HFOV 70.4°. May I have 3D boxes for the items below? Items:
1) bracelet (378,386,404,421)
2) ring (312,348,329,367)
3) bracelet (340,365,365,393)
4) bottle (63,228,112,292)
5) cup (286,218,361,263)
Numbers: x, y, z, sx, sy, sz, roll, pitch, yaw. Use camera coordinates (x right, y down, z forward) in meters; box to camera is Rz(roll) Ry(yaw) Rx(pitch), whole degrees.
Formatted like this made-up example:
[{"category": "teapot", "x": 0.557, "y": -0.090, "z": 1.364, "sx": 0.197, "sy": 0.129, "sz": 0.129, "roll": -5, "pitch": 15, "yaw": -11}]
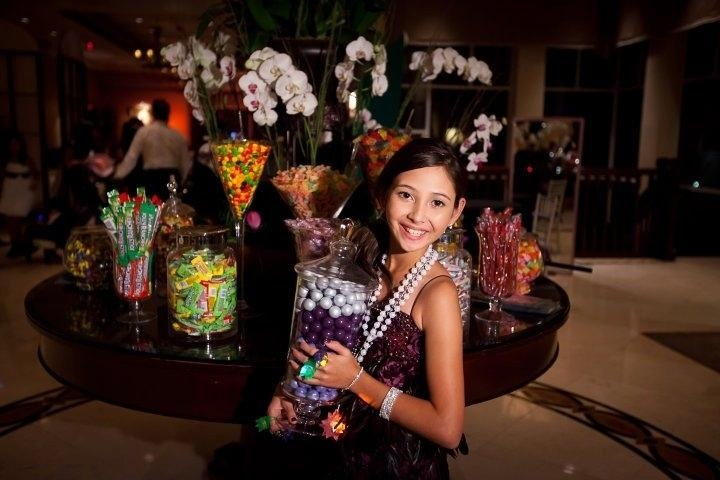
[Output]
[{"category": "bracelet", "x": 0.110, "y": 0.618, "z": 1.979, "sx": 0.105, "sy": 0.107, "sz": 0.098, "roll": 12, "pitch": 20, "yaw": 16}, {"category": "ring", "x": -0.145, "y": 0.430, "z": 1.864, "sx": 0.039, "sy": 0.062, "sz": 0.027, "roll": 30, "pitch": -27, "yaw": -5}, {"category": "bracelet", "x": -0.033, "y": 0.534, "z": 1.937, "sx": 0.023, "sy": 0.086, "sz": 0.077, "roll": 31, "pitch": 8, "yaw": -3}, {"category": "bottle", "x": -1.403, "y": 0.100, "z": 2.731, "sx": 0.261, "sy": 0.271, "sz": 0.310, "roll": 1, "pitch": 6, "yaw": -1}, {"category": "cup", "x": -0.138, "y": 0.004, "z": 2.187, "sx": 0.214, "sy": 0.198, "sz": 0.214, "roll": 0, "pitch": 1, "yaw": 0}]
